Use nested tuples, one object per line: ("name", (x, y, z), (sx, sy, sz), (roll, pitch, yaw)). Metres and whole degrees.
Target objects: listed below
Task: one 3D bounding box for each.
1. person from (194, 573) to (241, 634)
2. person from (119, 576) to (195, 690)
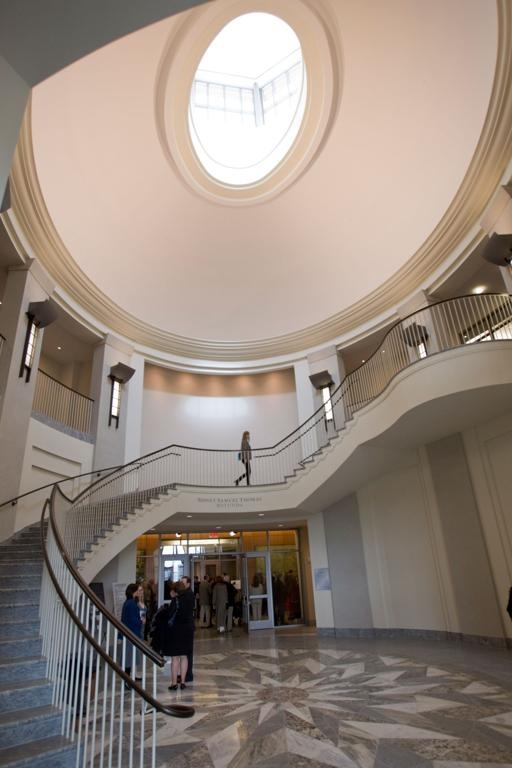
("person", (-1.303, 7.367, 13.264), (1.047, 1.740, 1.715), (14, -31, -39))
("person", (-1.474, 3.906, 6.116), (1.036, 1.467, 1.151), (-4, -24, -6))
